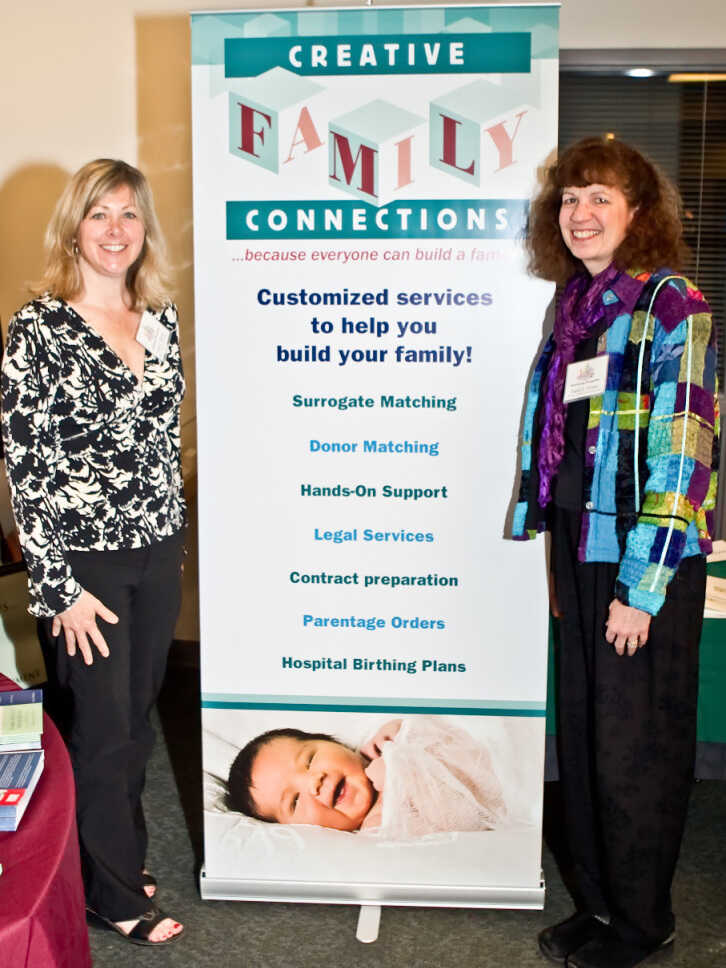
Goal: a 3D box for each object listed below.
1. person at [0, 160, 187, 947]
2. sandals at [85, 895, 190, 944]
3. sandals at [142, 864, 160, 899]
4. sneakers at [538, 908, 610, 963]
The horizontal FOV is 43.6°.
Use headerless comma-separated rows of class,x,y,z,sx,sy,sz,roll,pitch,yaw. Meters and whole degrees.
person,-0.572,0.196,2.087,0.338,1.774,0.464,-3,15,-2
sandals,-0.536,1.031,2.152,0.225,0.061,0.089,2,16,22
sandals,-0.535,1.002,2.287,0.043,0.028,0.119,5,6,-11
sneakers,0.482,1.033,2.078,0.179,0.069,0.059,11,26,-48
